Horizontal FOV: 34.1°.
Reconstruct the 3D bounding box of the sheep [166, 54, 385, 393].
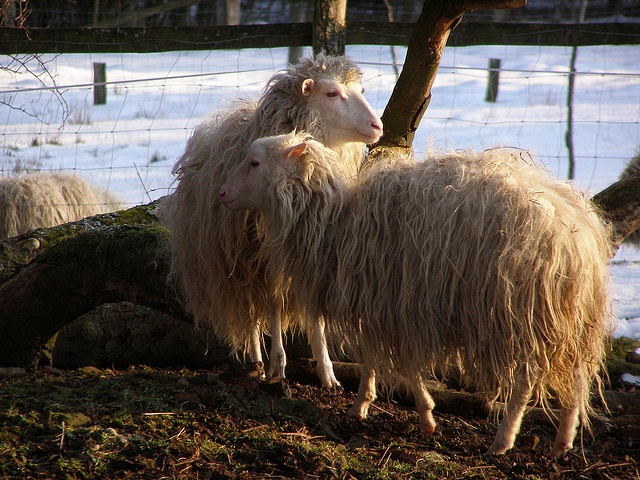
[{"bbox_3d":[-0.314,-0.171,9.169,1.446,2.688,2.703,6,-4,-31],"label":"sheep"}]
